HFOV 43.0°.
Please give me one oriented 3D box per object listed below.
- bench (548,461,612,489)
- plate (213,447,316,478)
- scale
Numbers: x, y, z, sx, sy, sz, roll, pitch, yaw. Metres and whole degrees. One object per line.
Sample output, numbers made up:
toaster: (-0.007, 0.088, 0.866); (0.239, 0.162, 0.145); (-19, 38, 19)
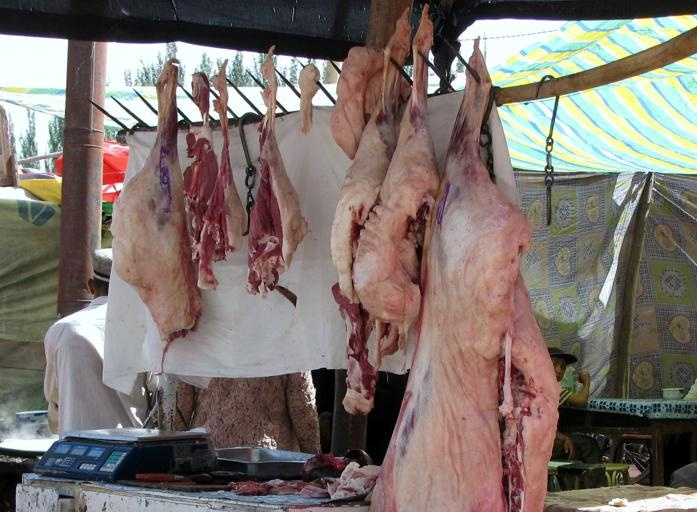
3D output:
bench: (2.031, 1.990, 7.902); (0.514, 0.294, 0.468); (-2, -6, 21)
plate: (-0.516, 1.178, 5.286); (0.526, 0.145, 0.690); (-1, 3, -12)
scale: (-1.284, 1.136, 5.137); (0.857, 0.220, 0.765); (-8, -7, 43)
